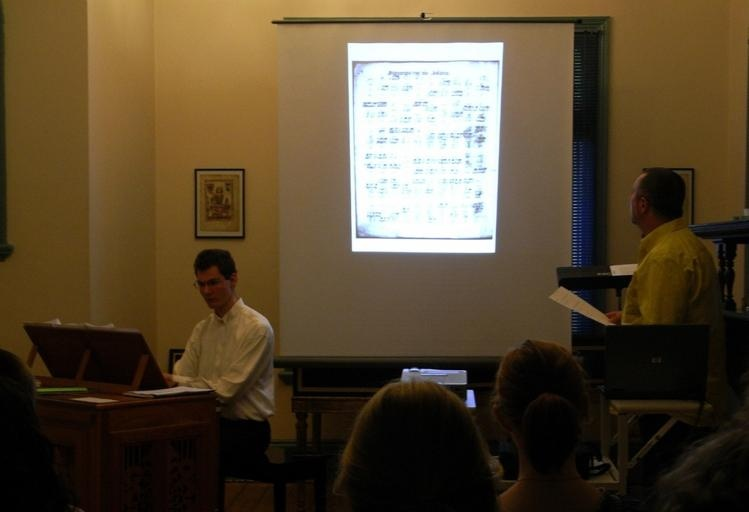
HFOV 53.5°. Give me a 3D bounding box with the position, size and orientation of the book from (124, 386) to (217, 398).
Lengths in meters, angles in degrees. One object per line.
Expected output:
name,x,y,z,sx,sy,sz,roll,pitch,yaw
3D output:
book,-1.174,0.786,4.242,0.472,0.054,0.144,-2,6,-9

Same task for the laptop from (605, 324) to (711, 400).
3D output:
laptop,1.409,0.591,3.782,0.570,0.406,0.433,-2,-1,34

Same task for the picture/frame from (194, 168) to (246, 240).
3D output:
picture/frame,-1.212,-0.428,5.927,0.553,0.735,0.047,1,2,1

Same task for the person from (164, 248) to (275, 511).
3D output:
person,-0.943,0.915,4.796,0.599,1.337,0.632,-2,6,-10
